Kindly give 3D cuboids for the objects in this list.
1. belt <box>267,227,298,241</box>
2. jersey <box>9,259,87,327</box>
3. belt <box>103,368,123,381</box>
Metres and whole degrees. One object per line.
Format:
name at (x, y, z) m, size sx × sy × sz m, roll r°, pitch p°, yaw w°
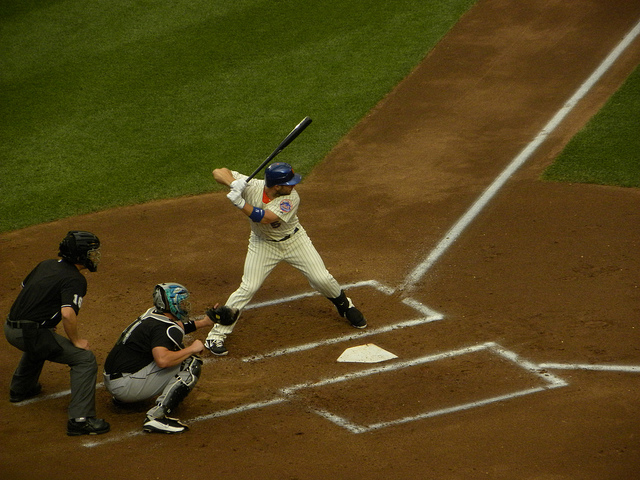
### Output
belt at (-0.457, -0.073, 12.532) m, size 0.208 × 0.048 × 0.206 m, roll -16°, pitch 6°, yaw 45°
jersey at (-3.289, 0.681, 11.438) m, size 0.980 × 0.781 × 0.539 m, roll 33°, pitch 11°, yaw 29°
belt at (-2.463, 1.610, 11.233) m, size 0.247 × 0.111 × 0.202 m, roll 1°, pitch 4°, yaw 17°
